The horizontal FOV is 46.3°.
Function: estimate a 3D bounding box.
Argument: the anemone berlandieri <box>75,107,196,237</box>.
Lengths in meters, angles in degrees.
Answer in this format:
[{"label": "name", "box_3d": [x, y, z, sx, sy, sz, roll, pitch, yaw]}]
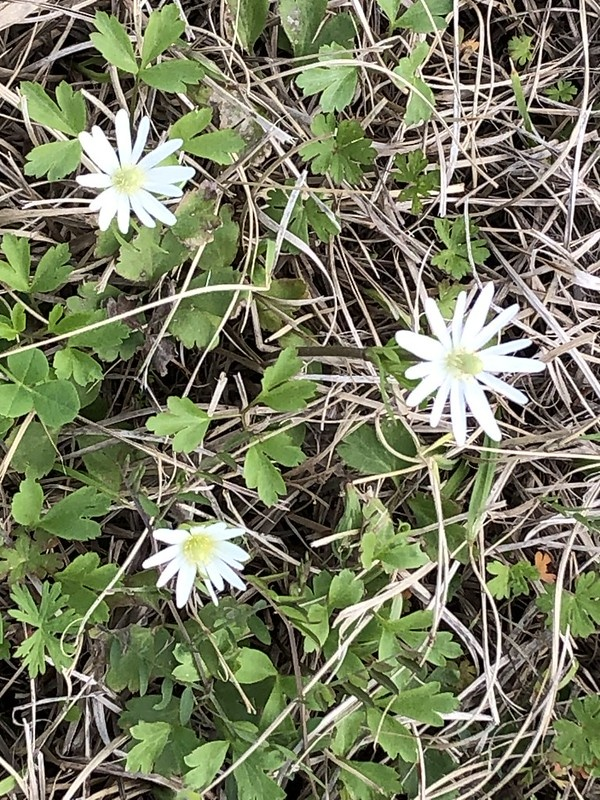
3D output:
[{"label": "anemone berlandieri", "box_3d": [-0.265, -0.353, 1.077, 0.187, 0.174, 0.049, 14, 67, -30]}]

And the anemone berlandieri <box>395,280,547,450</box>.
[{"label": "anemone berlandieri", "box_3d": [0.275, -0.087, 1.067, 0.187, 0.168, 0.075, 31, 104, -5]}]

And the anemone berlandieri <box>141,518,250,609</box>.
[{"label": "anemone berlandieri", "box_3d": [-0.150, 0.247, 1.052, 0.139, 0.166, 0.112, -10, 75, -6]}]
